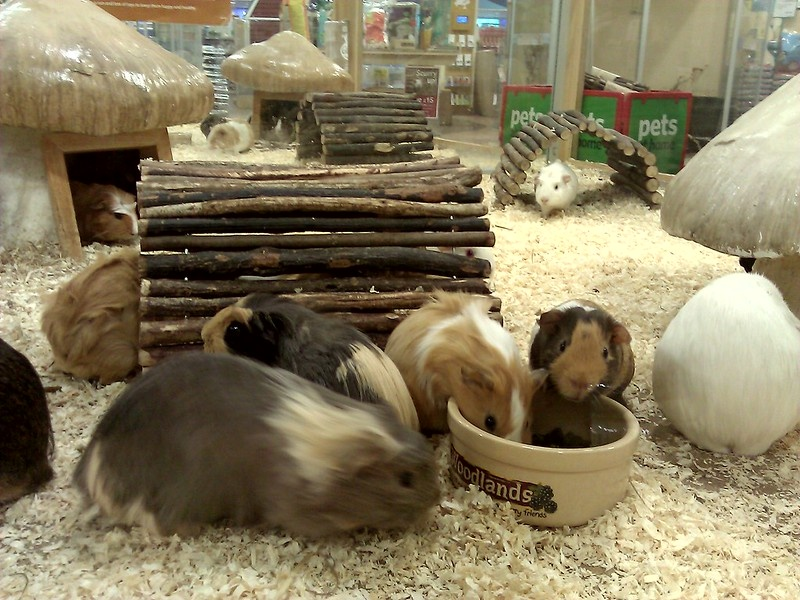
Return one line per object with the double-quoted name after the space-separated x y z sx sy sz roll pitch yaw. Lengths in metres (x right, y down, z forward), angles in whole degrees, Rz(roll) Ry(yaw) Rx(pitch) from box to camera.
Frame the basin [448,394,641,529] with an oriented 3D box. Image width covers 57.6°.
0.537 0.615 2.790 0.612 0.232 0.591 0 11 0 "basin"
